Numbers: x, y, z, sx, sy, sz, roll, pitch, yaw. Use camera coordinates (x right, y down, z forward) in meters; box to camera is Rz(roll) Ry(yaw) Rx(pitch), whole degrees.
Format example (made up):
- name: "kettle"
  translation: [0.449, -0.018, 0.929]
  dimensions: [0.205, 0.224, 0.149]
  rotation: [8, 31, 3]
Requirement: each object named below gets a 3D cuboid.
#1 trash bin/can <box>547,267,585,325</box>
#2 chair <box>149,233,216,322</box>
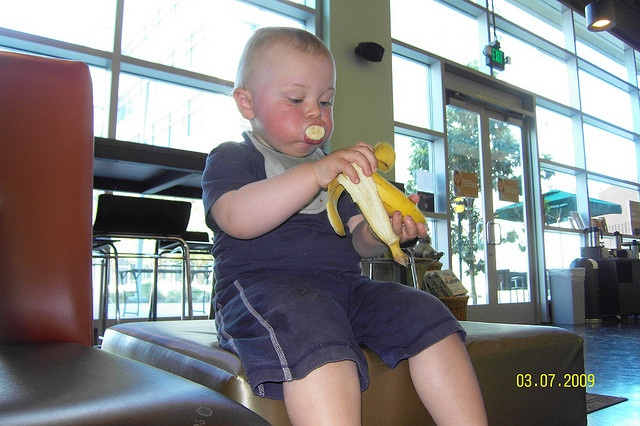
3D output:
- name: "trash bin/can"
  translation: [2.917, 0.972, 5.485]
  dimensions: [0.369, 0.650, 0.381]
  rotation: [-4, -7, 27]
- name: "chair"
  translation: [-0.950, 0.411, 2.887]
  dimensions: [0.462, 0.574, 0.424]
  rotation: [0, -1, -5]
